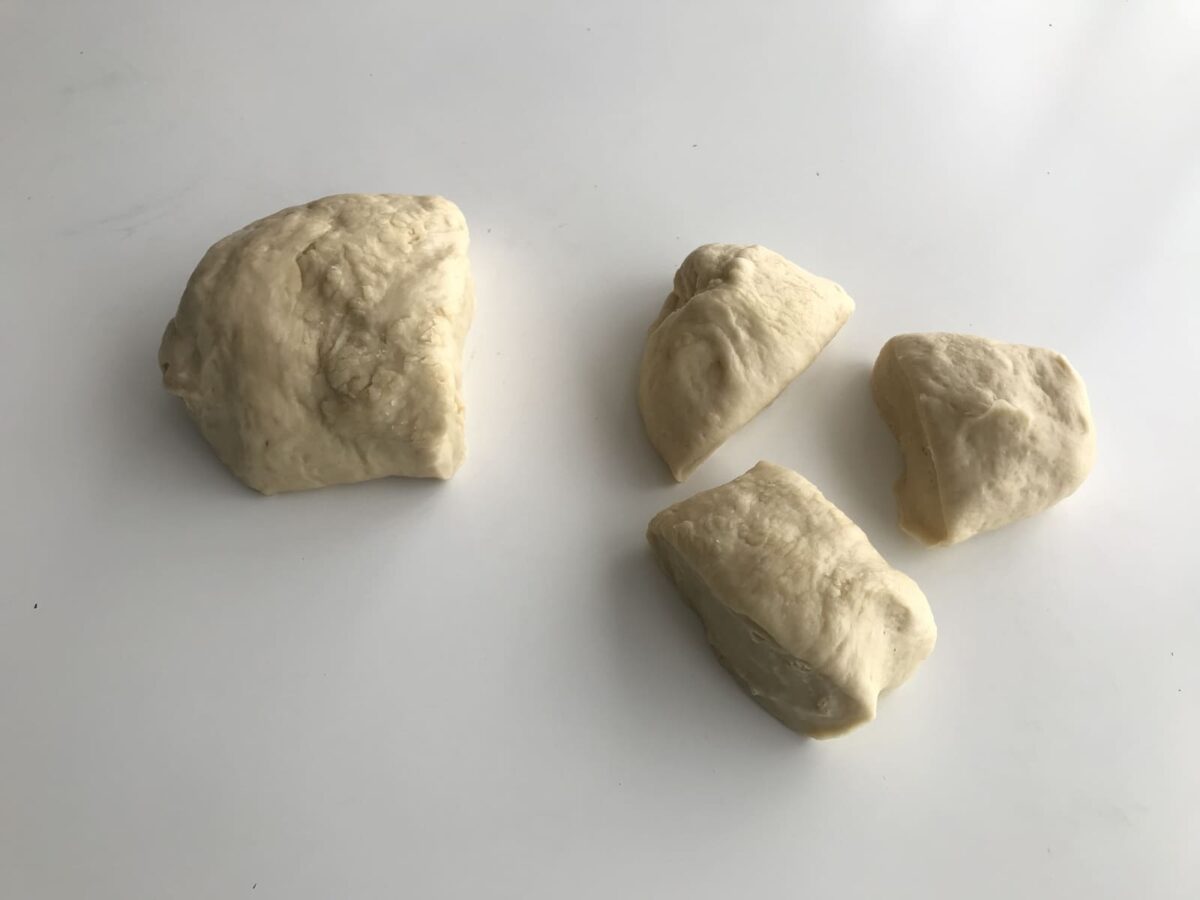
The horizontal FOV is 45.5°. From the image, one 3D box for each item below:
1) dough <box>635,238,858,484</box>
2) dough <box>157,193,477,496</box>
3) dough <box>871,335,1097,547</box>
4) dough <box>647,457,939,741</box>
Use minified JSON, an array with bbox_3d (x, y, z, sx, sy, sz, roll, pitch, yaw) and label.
[{"bbox_3d":[0.222,-0.220,2.741,0.359,0.176,0.552,15,50,31],"label":"dough"},{"bbox_3d":[-0.529,-0.202,2.641,0.553,0.279,0.461,0,64,-9],"label":"dough"},{"bbox_3d":[0.730,-0.004,2.796,0.347,0.195,0.413,-8,76,5],"label":"dough"},{"bbox_3d":[0.350,0.244,2.669,0.569,0.222,0.398,40,53,22],"label":"dough"}]
